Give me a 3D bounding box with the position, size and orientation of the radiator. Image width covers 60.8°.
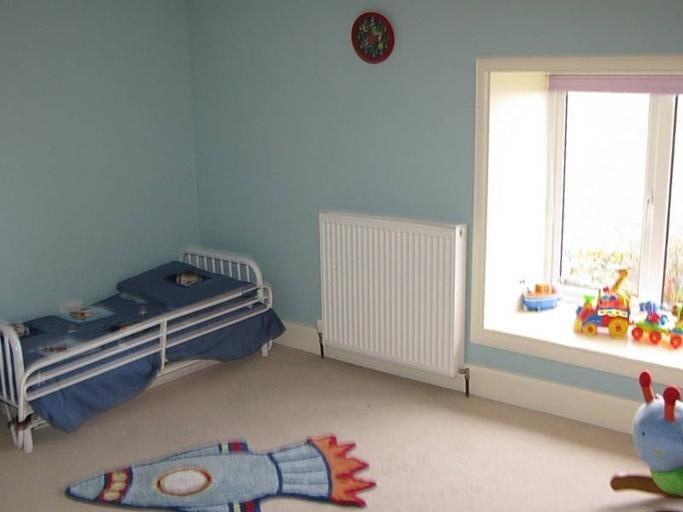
[{"bbox_3d":[0.399,0.254,4.176,1.053,1.055,0.178,9,18,33],"label":"radiator"}]

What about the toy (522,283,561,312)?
[{"bbox_3d":[1.482,0.312,4.341,0.261,0.188,0.192,-8,17,-23],"label":"toy"}]
